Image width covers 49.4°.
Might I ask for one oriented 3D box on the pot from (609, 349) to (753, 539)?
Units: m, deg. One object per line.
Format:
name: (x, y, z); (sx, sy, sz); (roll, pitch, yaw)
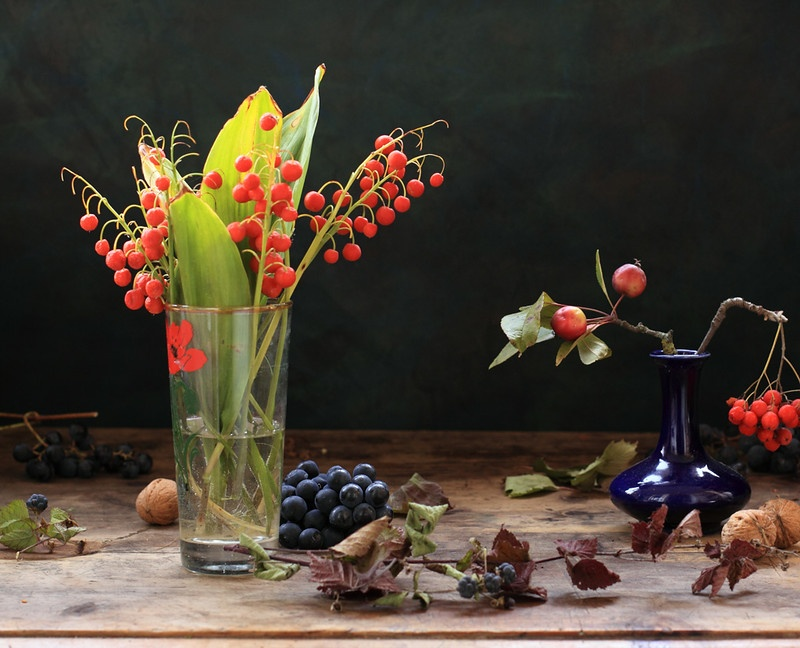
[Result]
pot: (0.349, 0.140, 1.094); (0.212, 0.244, 0.211); (-1, -3, 0)
